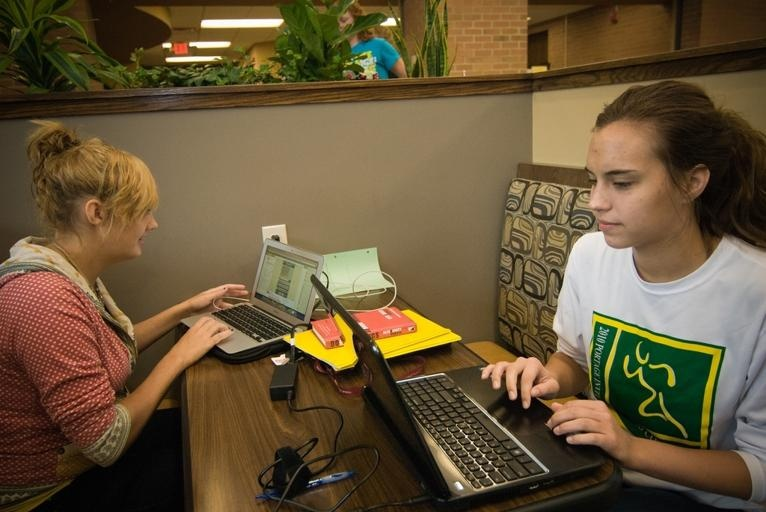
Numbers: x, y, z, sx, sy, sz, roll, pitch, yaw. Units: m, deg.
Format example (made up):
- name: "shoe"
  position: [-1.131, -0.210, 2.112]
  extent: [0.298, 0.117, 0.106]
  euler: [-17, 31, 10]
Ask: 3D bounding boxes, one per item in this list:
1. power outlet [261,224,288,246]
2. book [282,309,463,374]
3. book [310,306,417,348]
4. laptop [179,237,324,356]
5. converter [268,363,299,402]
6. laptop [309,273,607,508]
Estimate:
- name: "power outlet"
  position: [-0.481, -0.094, 2.168]
  extent: [0.110, 0.108, 0.019]
  euler: [-2, 6, -15]
- name: "book"
  position: [0.001, 0.285, 1.576]
  extent: [0.315, 0.043, 0.295]
  euler: [-7, 19, -20]
- name: "book"
  position: [-0.063, 0.231, 1.644]
  extent: [0.246, 0.042, 0.181]
  euler: [-5, 11, -27]
- name: "laptop"
  position: [-0.484, 0.139, 1.806]
  extent: [0.471, 0.276, 0.500]
  euler: [-7, 15, -22]
- name: "converter"
  position: [-0.284, 0.373, 1.454]
  extent: [0.094, 0.036, 0.156]
  euler: [-7, 23, -7]
- name: "laptop"
  position: [0.196, 0.309, 1.205]
  extent: [0.477, 0.371, 0.461]
  euler: [-10, 16, -23]
